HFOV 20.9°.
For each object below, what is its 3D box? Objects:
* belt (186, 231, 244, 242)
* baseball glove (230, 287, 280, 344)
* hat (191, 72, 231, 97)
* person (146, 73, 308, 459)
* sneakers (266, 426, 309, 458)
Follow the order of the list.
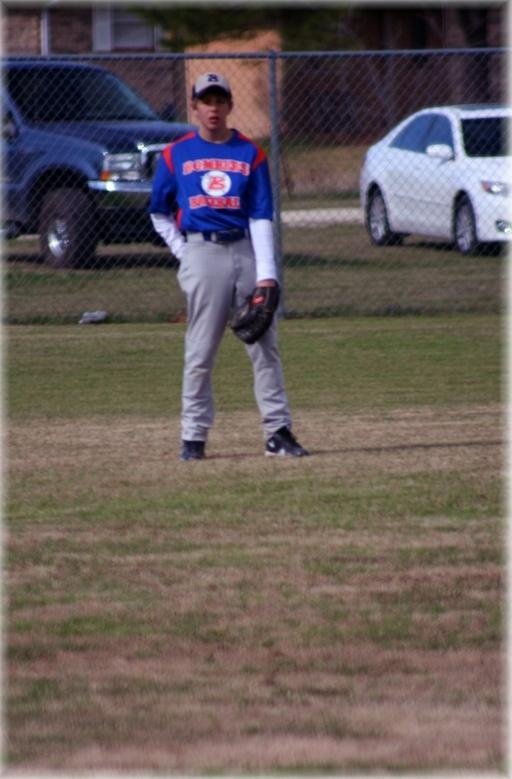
[{"bbox_3d":[-0.146,-0.554,5.184,0.219,0.049,0.090,0,12,2],"label":"belt"},{"bbox_3d":[0.003,-0.294,5.232,0.141,0.232,0.083,33,-9,-38],"label":"baseball glove"},{"bbox_3d":[-0.163,-1.105,5.149,0.142,0.091,0.272,-1,12,-2],"label":"hat"},{"bbox_3d":[-0.168,-0.440,5.287,0.528,1.445,0.292,2,12,13],"label":"person"},{"bbox_3d":[0.127,0.213,5.376,0.141,0.107,0.101,2,1,-7],"label":"sneakers"}]
